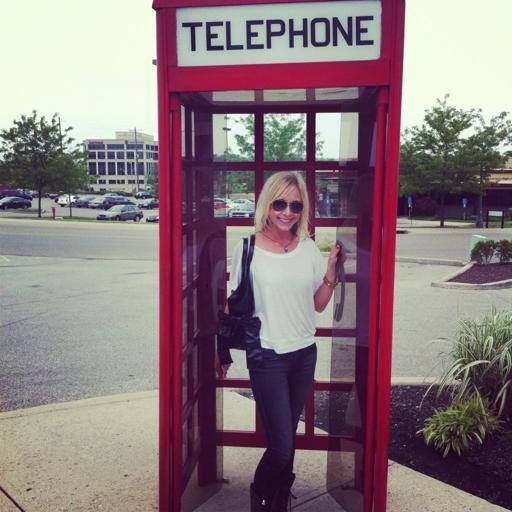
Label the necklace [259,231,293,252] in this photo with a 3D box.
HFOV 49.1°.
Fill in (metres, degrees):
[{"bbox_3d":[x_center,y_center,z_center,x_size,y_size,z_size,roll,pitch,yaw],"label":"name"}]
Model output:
[{"bbox_3d":[0.105,-0.080,2.987,0.138,0.039,0.091,33,28,11],"label":"necklace"}]
